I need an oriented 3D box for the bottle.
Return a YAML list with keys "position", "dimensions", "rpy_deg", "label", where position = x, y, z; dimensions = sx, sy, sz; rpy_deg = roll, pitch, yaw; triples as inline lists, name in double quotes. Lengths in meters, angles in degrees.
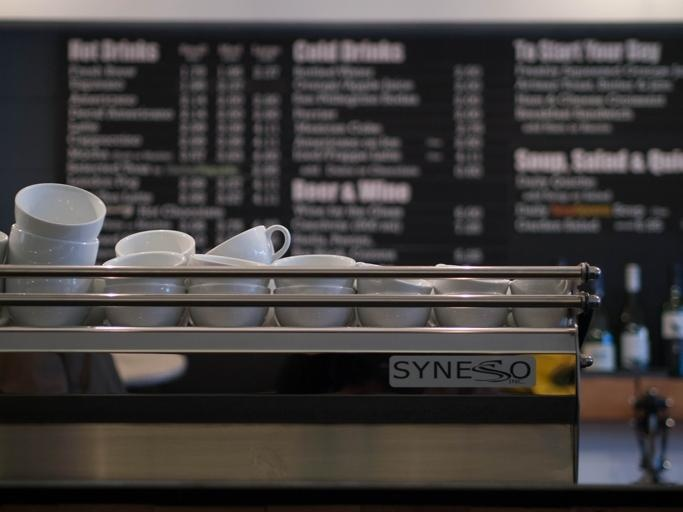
- position: [0.964, 0.231, 3.618]
  dimensions: [0.364, 0.453, 0.124]
  rpy_deg: [6, -30, -3]
  label: "bottle"
